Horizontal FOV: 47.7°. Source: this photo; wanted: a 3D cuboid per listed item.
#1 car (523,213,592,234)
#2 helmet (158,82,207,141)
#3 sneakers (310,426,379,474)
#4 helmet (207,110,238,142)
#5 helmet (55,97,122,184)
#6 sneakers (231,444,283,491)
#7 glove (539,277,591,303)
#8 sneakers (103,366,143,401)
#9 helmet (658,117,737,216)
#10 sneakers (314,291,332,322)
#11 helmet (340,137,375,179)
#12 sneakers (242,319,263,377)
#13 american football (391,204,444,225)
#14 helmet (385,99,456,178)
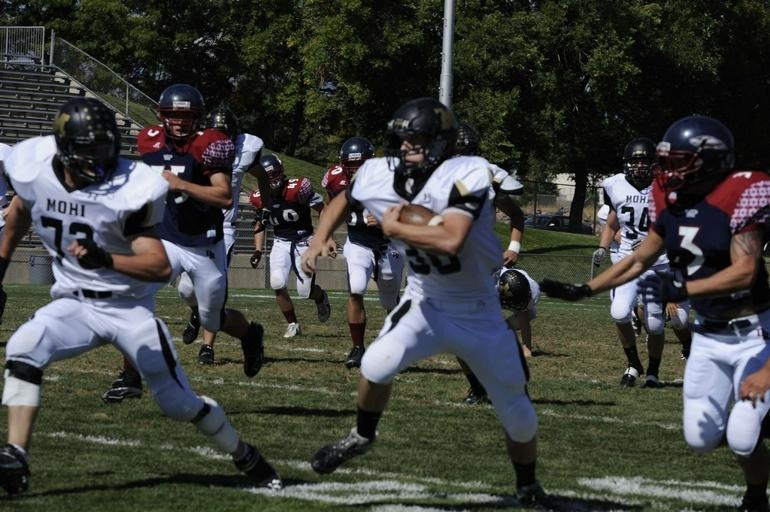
[{"bbox_3d":[6.372,-1.009,32.694,2.418,0.775,1.288,-3,13,-14],"label":"car"},{"bbox_3d":[-1.760,-1.270,7.805,0.399,0.472,0.494,0,8,-6],"label":"helmet"},{"bbox_3d":[-0.312,1.322,5.954,0.562,0.198,0.242,-24,-12,-15],"label":"sneakers"},{"bbox_3d":[-1.658,-1.341,9.030,0.310,0.351,0.370,10,12,23],"label":"helmet"},{"bbox_3d":[-1.989,-0.794,5.821,0.425,0.488,0.565,-8,31,-30],"label":"helmet"},{"bbox_3d":[-0.894,1.467,6.021,0.300,0.101,0.209,34,-4,4],"label":"sneakers"},{"bbox_3d":[1.249,0.266,6.123,0.278,0.084,0.169,18,18,33],"label":"glove"},{"bbox_3d":[-2.218,1.122,7.532,0.171,0.197,0.442,-1,-5,17],"label":"sneakers"},{"bbox_3d":[2.086,-0.650,5.845,0.637,0.534,0.487,-4,14,-3],"label":"helmet"},{"bbox_3d":[-0.828,0.695,11.702,0.201,0.530,0.212,-3,25,-2],"label":"sneakers"},{"bbox_3d":[-0.326,-1.149,9.842,0.438,0.477,0.523,0,33,3],"label":"helmet"},{"bbox_3d":[-1.211,0.858,7.961,0.174,0.509,0.238,5,20,21],"label":"sneakers"},{"bbox_3d":[0.211,-0.259,5.623,0.204,0.133,0.074,8,-35,7],"label":"american football"},{"bbox_3d":[0.080,-0.797,5.817,0.548,0.510,0.409,-10,3,-42],"label":"helmet"}]
